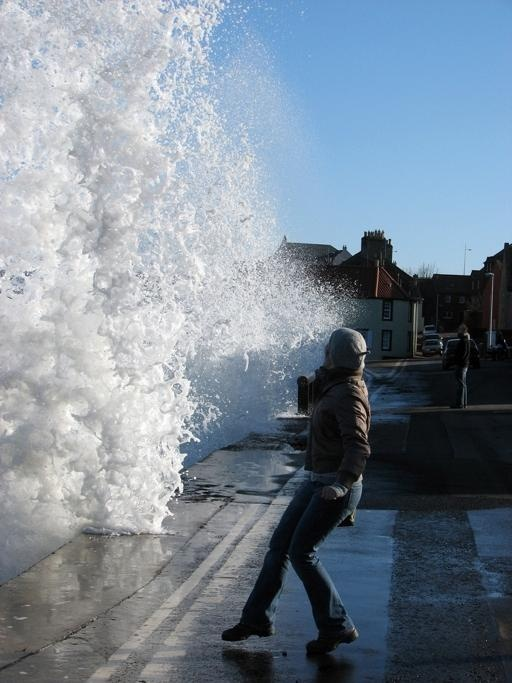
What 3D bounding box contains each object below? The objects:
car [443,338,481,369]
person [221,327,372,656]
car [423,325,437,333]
[{"bbox_3d":[8.685,0.580,28.870,1.582,1.349,3.204,1,8,5],"label":"car"},{"bbox_3d":[0.219,0.693,3.197,0.635,1.523,0.467,-1,-3,17],"label":"person"},{"bbox_3d":[22.640,-1.506,88.622,1.463,1.073,2.311,-2,-4,3],"label":"car"}]
